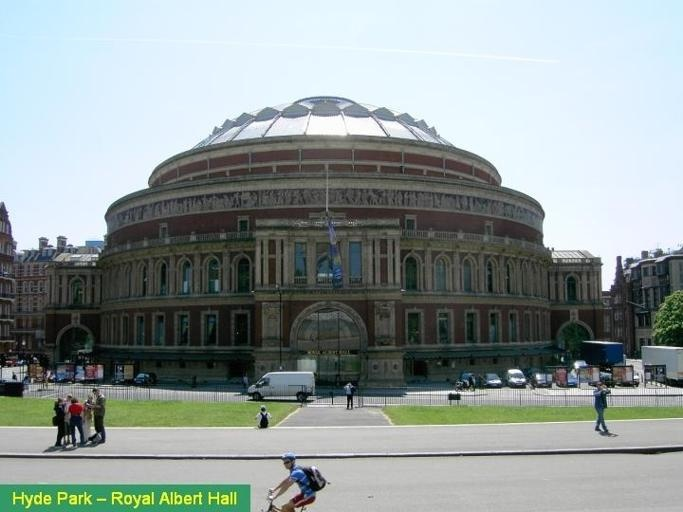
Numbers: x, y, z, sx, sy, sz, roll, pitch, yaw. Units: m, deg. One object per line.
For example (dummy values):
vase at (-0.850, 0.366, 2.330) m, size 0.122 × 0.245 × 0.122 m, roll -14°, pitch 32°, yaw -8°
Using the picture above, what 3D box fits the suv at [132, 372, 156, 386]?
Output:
suv at (-18.900, 11.714, 96.686) m, size 1.688 × 1.512 × 3.535 m, roll -4°, pitch -12°, yaw 11°

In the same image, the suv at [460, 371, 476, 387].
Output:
suv at (11.513, 11.265, 92.113) m, size 1.237 × 1.150 × 2.142 m, roll -3°, pitch -21°, yaw 11°

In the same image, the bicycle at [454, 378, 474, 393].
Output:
bicycle at (10.998, 11.407, 89.989) m, size 0.890 × 1.167 × 2.014 m, roll -20°, pitch -30°, yaw 41°

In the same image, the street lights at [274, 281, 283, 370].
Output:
street lights at (-5.541, 6.310, 91.358) m, size 0.487 × 6.671 × 0.630 m, roll -2°, pitch -11°, yaw 1°

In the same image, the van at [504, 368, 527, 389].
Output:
van at (16.444, 11.447, 94.456) m, size 1.456 × 2.003 × 3.792 m, roll -2°, pitch -12°, yaw 1°
